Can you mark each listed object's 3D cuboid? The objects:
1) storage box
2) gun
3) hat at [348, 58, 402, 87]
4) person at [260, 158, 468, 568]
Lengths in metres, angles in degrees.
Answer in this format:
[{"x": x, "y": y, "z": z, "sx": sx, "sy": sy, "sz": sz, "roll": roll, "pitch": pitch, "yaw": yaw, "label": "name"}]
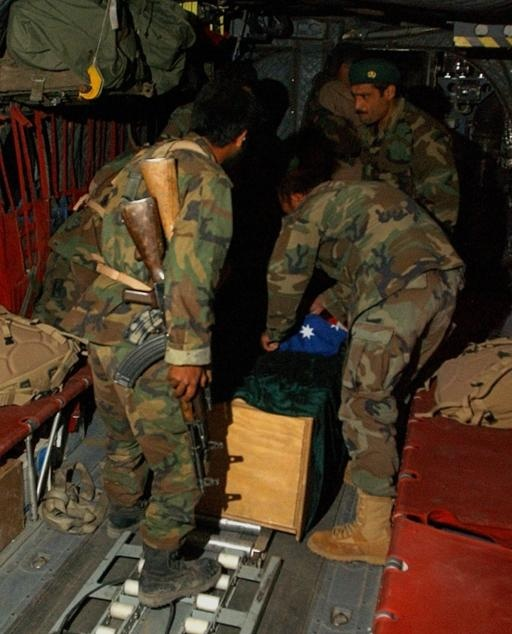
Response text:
[{"x": 0.031, "y": 0.503, "z": 2.700, "sx": 0.774, "sy": 0.813, "sz": 1.269, "roll": 4, "pitch": 2, "yaw": 18, "label": "storage box"}, {"x": -0.290, "y": 0.070, "z": 1.757, "sx": 0.359, "sy": 1.171, "sz": 0.216, "roll": 1, "pitch": 19, "yaw": -14, "label": "gun"}, {"x": 0.864, "y": -1.799, "z": 3.793, "sx": 0.336, "sy": 0.153, "sz": 0.220, "roll": 2, "pitch": 27, "yaw": -6, "label": "hat"}, {"x": 0.478, "y": 0.201, "z": 2.382, "sx": 0.645, "sy": 1.700, "sz": 0.936, "roll": -5, "pitch": 20, "yaw": -30, "label": "person"}]
